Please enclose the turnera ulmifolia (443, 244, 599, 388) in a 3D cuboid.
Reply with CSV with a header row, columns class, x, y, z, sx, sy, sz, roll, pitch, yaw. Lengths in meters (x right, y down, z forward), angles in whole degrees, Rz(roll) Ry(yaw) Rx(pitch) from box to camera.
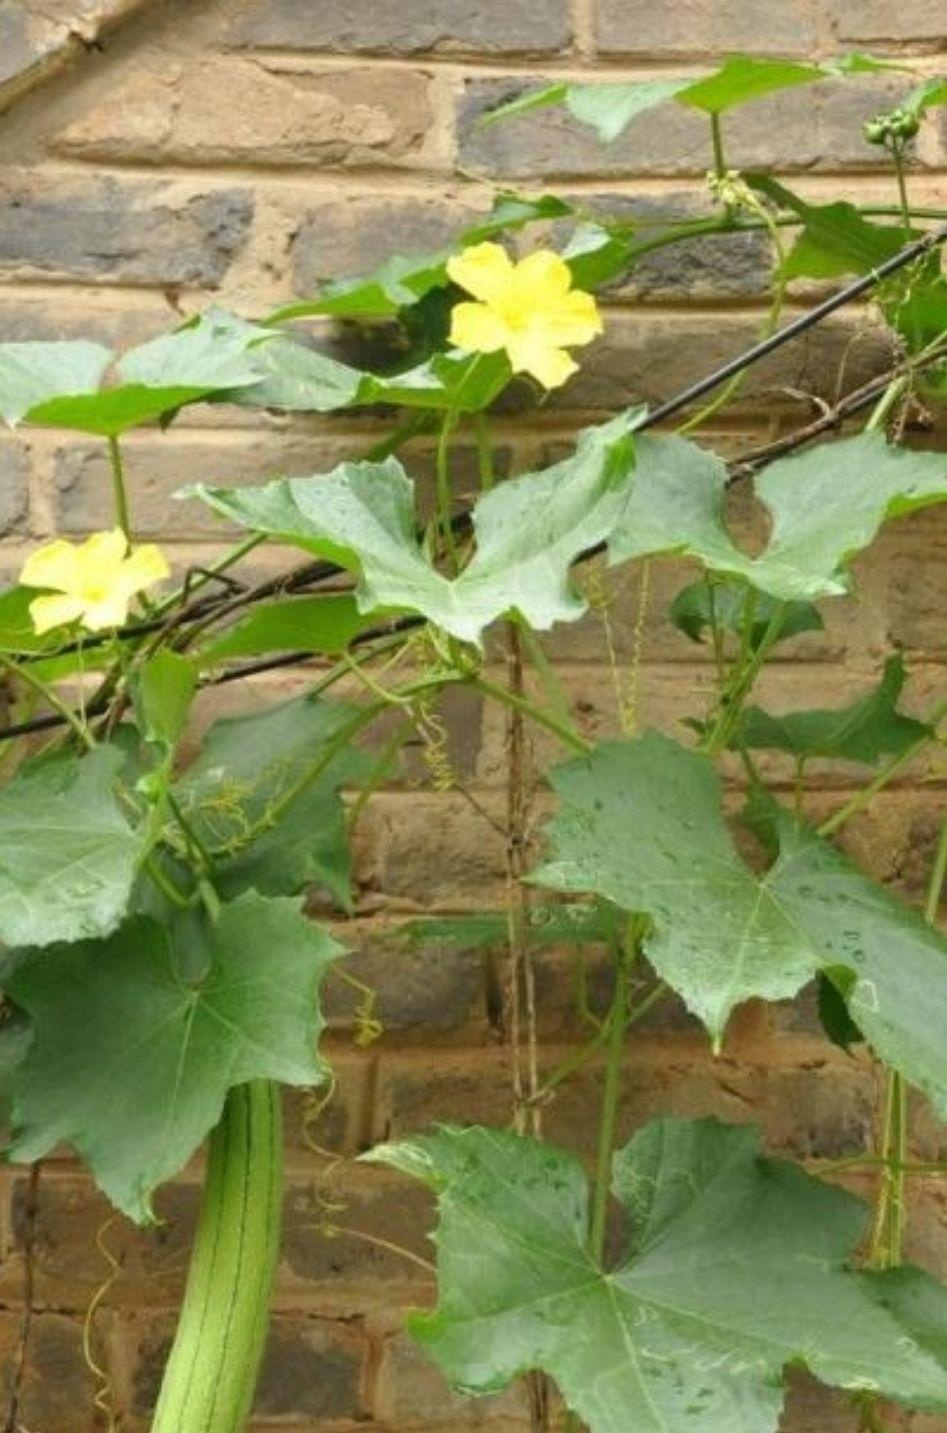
class,x,y,z,sx,sy,sz,roll,pitch,yaw
turnera ulmifolia,0.030,-0.245,0.952,0.083,0.080,0.068,-4,30,13
